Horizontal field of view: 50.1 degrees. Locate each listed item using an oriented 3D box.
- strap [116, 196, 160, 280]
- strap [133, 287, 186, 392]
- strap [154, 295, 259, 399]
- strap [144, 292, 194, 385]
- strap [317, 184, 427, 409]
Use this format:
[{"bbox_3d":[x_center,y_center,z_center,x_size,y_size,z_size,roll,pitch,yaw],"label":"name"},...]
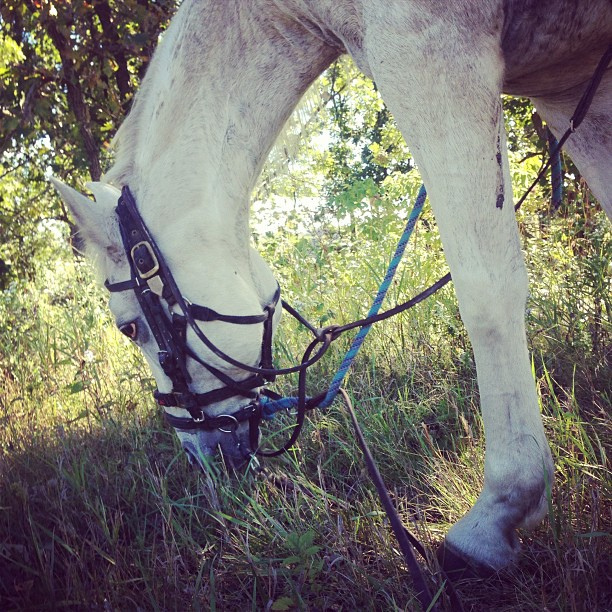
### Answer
[{"bbox_3d":[-0.638,-0.250,2.451,0.095,0.366,0.048,-16,-30,-17],"label":"strap"},{"bbox_3d":[-0.559,0.120,2.508,0.051,0.544,0.070,-17,8,24],"label":"strap"},{"bbox_3d":[-0.392,0.197,2.483,0.091,0.399,0.295,-40,14,-20],"label":"strap"},{"bbox_3d":[-0.512,0.108,2.456,0.041,0.375,0.039,-29,-3,20],"label":"strap"},{"bbox_3d":[0.370,-0.155,2.904,0.184,0.363,2.433,-16,7,16],"label":"strap"}]
